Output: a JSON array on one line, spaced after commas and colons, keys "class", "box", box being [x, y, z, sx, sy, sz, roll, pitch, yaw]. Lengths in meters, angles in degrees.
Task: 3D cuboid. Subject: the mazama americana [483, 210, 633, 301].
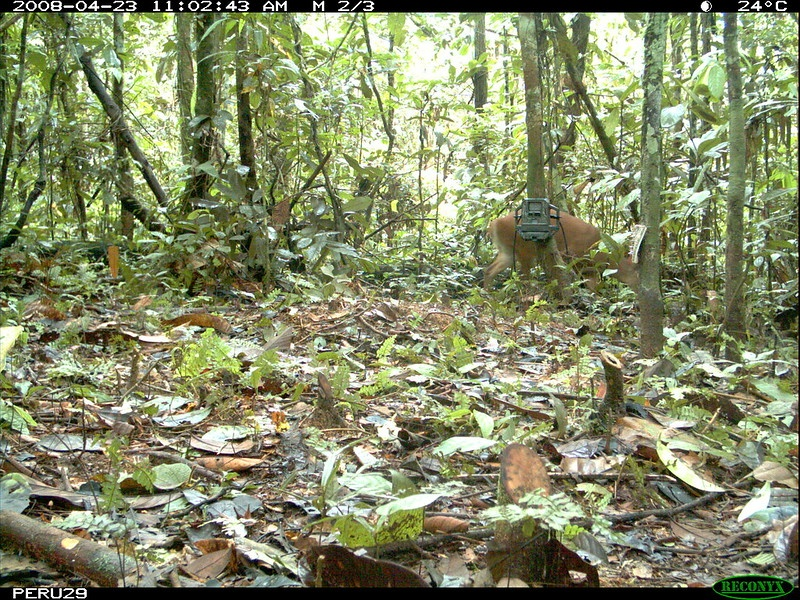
[{"class": "mazama americana", "box": [1.348, -0.465, 6.297, 1.470, 0.733, 1.115, 1, 3, 27]}]

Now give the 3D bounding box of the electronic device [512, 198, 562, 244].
[{"class": "electronic device", "box": [1.119, -0.647, 5.466, 0.393, 0.325, 0.204, 6, 15, 37]}]
